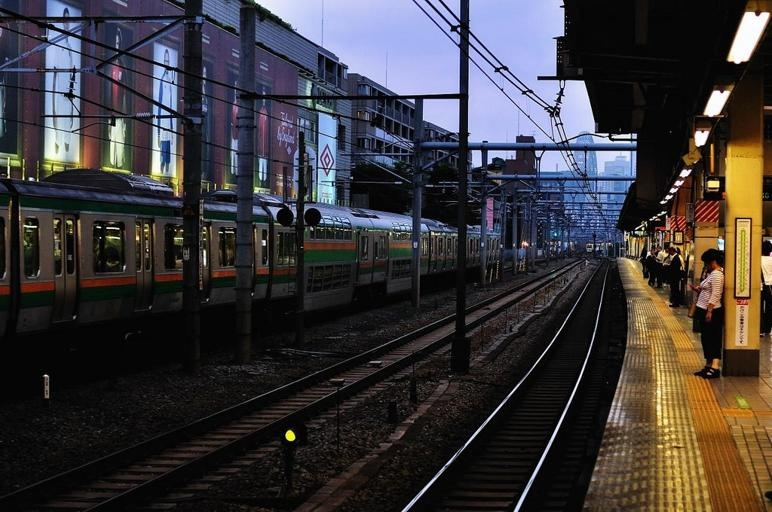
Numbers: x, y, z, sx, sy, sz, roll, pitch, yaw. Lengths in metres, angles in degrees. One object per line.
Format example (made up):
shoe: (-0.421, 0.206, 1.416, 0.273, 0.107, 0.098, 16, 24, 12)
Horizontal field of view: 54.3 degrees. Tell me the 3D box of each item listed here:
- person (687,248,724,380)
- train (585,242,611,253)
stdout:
person: (7.002, 1.258, 16.277, 0.596, 2.816, 1.141, 4, 3, 24)
train: (58.267, -1.478, 207.164, 4.439, 4.160, 17.518, -1, 1, 9)
